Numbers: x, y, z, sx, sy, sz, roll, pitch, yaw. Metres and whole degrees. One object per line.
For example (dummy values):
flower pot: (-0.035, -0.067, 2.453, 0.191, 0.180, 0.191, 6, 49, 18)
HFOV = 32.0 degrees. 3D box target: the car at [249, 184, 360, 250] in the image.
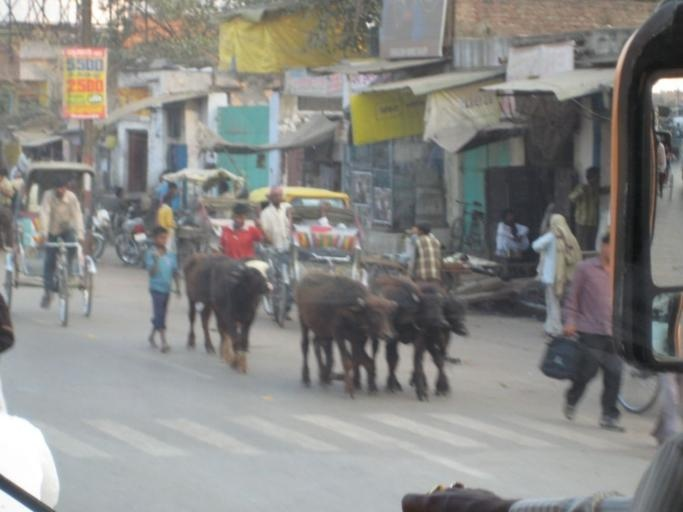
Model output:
car: (-0.181, -0.182, 16.879, 1.163, 1.117, 2.129, 4, -6, 2)

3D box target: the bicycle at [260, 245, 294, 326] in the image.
bicycle: (-0.761, 0.354, 14.967, 0.327, 0.571, 1.108, -1, 7, -14)

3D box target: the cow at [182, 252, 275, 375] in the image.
cow: (-1.315, 0.670, 13.739, 0.496, 1.397, 1.328, -10, 16, -29)

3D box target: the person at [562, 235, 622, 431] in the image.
person: (2.556, 0.827, 11.993, 0.591, 2.295, 0.862, 2, 14, 14)

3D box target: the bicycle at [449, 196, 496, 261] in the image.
bicycle: (1.792, -0.368, 16.494, 0.442, 0.584, 0.936, 1, 9, -20)

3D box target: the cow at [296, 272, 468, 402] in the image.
cow: (0.347, 0.611, 12.924, 1.449, 1.566, 1.454, 0, 10, -23)

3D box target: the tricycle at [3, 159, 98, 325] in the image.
tricycle: (-3.424, -0.196, 14.392, 0.715, 2.455, 1.114, -1, 1, -27)

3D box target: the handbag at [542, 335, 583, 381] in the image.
handbag: (2.243, 1.028, 11.937, 0.368, 0.537, 0.269, 10, -17, 13)

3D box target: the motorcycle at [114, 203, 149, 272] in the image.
motorcycle: (-3.249, -0.259, 18.388, 0.473, 1.124, 0.487, -3, 11, -16)
